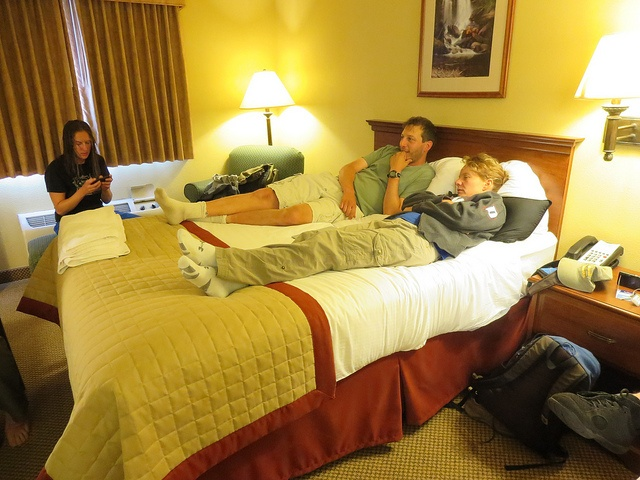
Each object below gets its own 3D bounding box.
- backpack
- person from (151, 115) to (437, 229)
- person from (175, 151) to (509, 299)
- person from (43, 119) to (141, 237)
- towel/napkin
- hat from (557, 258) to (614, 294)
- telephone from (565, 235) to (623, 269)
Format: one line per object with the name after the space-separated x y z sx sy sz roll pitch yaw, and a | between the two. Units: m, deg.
1.168 0.739 2.547 0.579 0.626 0.444 13 22 11 | backpack
-0.035 -0.321 3.381 2.185 0.926 0.859 -10 28 -23 | person
0.214 -0.114 2.641 1.936 0.814 0.700 -3 3 -16 | person
-1.715 -0.424 3.357 0.561 0.843 0.646 -9 23 -38 | person
-1.353 0.002 2.633 0.369 0.128 0.402 -14 39 -20 | towel/napkin
1.486 0.179 2.482 0.203 0.115 0.255 -20 0 -28 | hat
1.609 0.026 2.582 0.245 0.112 0.193 -27 26 -28 | telephone
